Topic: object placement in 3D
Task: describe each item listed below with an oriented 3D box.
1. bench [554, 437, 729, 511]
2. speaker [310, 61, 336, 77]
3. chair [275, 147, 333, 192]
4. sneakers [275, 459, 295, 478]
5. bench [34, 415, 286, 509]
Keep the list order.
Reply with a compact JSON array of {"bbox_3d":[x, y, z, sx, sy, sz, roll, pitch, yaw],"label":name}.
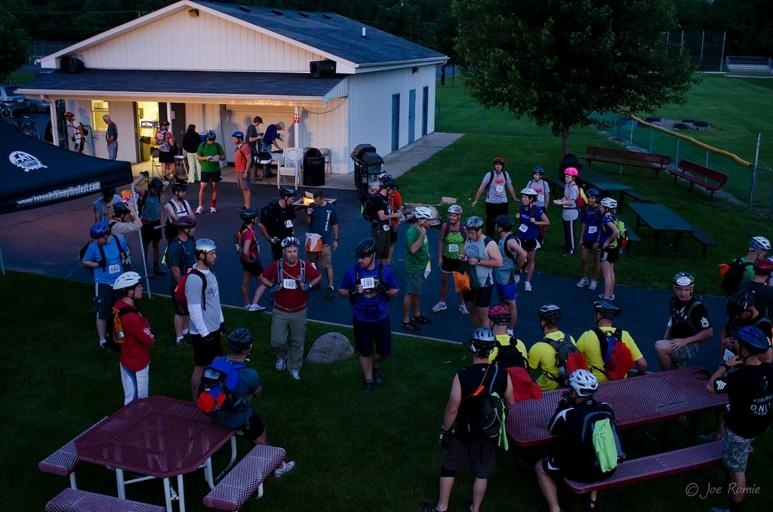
[{"bbox_3d":[3.643,2.892,8.390,3.132,0.121,0.504,-3,51,-19],"label":"bench"},{"bbox_3d":[-2.427,-7.055,22.374,0.801,0.778,0.593,-1,27,-13],"label":"speaker"},{"bbox_3d":[-3.153,-3.356,22.545,1.393,1.405,2.165,4,12,13],"label":"chair"},{"bbox_3d":[-1.502,3.115,8.792,0.129,0.153,0.368,23,32,28],"label":"sneakers"},{"bbox_3d":[-3.029,2.587,8.046,2.655,0.731,1.499,8,23,18],"label":"bench"}]
